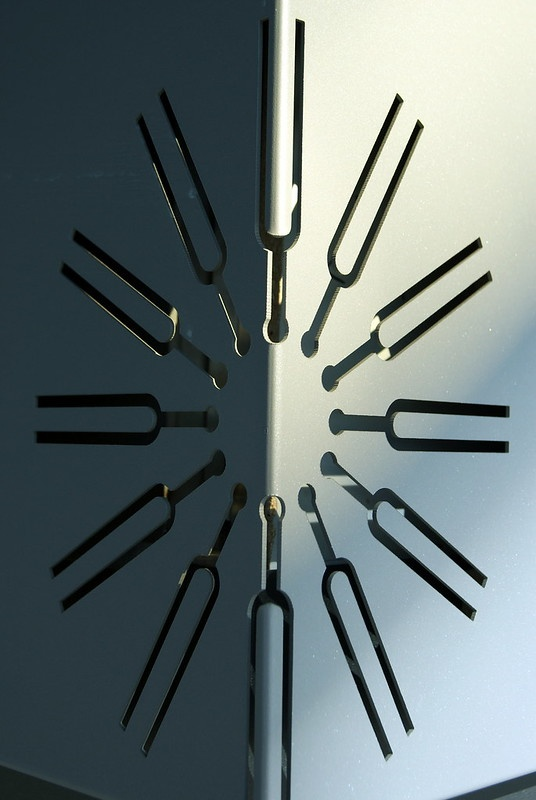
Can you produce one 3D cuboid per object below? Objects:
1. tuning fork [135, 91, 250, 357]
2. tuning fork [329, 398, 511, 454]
[{"bbox_3d":[-0.076,-0.221,0.826,0.059,0.373,0.008,-23,-9,24],"label":"tuning fork"},{"bbox_3d":[0.167,0.027,0.862,0.195,0.068,0.005,2,-33,12],"label":"tuning fork"}]
